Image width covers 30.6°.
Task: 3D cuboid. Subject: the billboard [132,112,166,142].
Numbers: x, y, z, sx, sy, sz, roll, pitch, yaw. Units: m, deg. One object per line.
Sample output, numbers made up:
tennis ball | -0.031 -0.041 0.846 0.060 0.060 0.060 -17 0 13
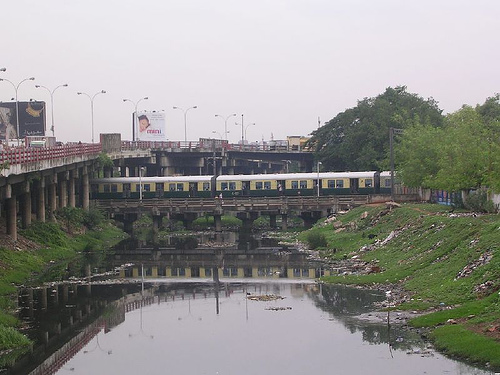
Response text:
billboard | -17.487 -11.090 161.644 5.545 5.524 2.143 3 24 1

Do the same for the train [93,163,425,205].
train | 0.645 -0.358 110.393 39.045 5.691 4.596 -2 2 16
